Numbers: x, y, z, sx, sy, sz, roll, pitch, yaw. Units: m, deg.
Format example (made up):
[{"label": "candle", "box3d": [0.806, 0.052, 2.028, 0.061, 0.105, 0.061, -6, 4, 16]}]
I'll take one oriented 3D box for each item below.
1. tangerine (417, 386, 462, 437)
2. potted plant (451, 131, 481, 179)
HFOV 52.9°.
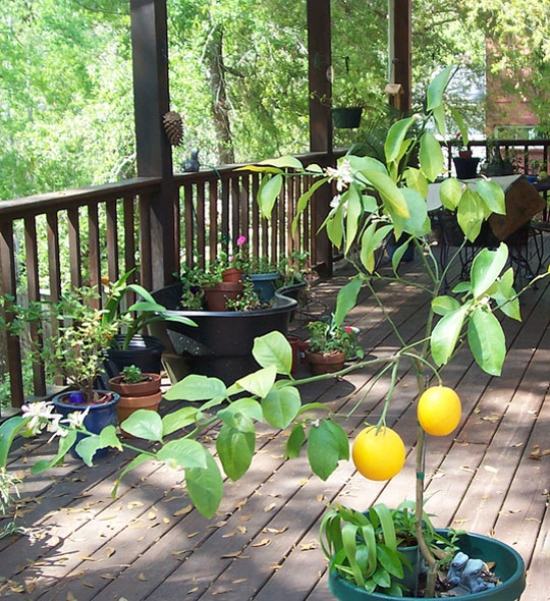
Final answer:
[{"label": "tangerine", "box3d": [0.197, 0.143, 0.688, 0.071, 0.056, 0.059, 3, 19, 6]}, {"label": "potted plant", "box3d": [2.579, -1.869, 7.399, 0.337, 0.512, 0.337, -15, 24, -15]}]
